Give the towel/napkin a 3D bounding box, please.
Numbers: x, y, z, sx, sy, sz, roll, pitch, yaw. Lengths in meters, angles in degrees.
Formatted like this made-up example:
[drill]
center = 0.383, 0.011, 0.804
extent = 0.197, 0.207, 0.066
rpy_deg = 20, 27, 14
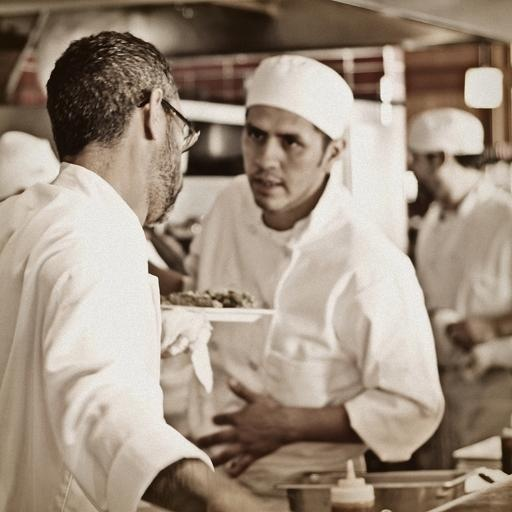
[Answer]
[towel/napkin]
center = -0.179, 0.246, 2.382
extent = 0.119, 0.210, 0.052
rpy_deg = -11, -9, -14
